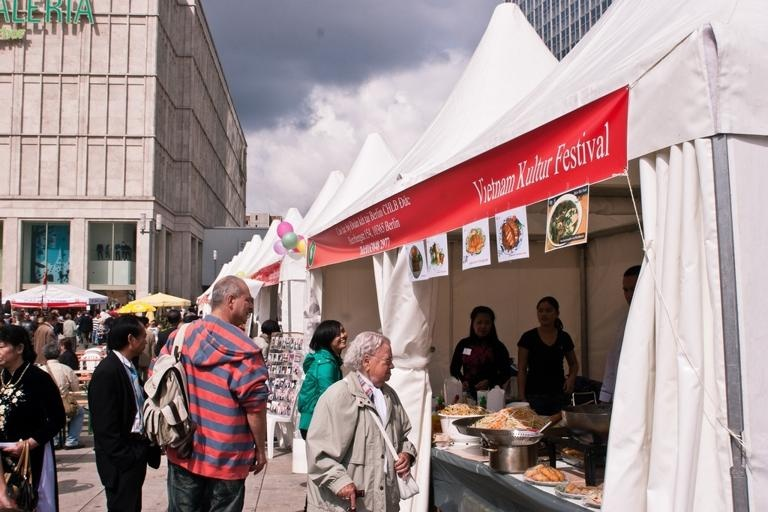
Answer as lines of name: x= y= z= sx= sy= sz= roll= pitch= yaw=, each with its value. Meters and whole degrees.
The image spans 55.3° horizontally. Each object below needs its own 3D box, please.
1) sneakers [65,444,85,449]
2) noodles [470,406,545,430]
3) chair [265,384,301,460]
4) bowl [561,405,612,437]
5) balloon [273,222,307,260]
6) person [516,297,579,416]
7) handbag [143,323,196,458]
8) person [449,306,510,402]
sneakers: x=-4.655 y=2.871 z=11.098 sx=0.254 sy=0.106 sz=0.085 roll=0 pitch=-1 yaw=-17
noodles: x=1.033 y=1.317 z=5.987 sx=0.570 sy=0.154 sz=0.443 roll=1 pitch=-10 yaw=8
chair: x=-1.424 y=2.220 z=10.404 sx=0.493 sy=0.822 sz=0.469 roll=2 pitch=15 yaw=4
bowl: x=1.447 y=1.177 z=5.291 sx=0.270 sy=0.115 sz=0.280 roll=-1 pitch=-9 yaw=0
balloon: x=-1.291 y=-0.238 z=10.458 sx=0.245 sy=0.407 sz=0.686 roll=-23 pitch=21 yaw=-16
person: x=1.689 y=0.985 z=7.407 sx=0.651 sy=1.185 sz=0.695 roll=3 pitch=-10 yaw=-4
handbag: x=-1.483 y=1.018 z=5.054 sx=0.370 sy=0.684 sz=0.200 roll=-2 pitch=-10 yaw=23
person: x=1.039 y=1.025 z=7.884 sx=0.624 sy=0.976 sz=0.361 roll=1 pitch=-9 yaw=5
